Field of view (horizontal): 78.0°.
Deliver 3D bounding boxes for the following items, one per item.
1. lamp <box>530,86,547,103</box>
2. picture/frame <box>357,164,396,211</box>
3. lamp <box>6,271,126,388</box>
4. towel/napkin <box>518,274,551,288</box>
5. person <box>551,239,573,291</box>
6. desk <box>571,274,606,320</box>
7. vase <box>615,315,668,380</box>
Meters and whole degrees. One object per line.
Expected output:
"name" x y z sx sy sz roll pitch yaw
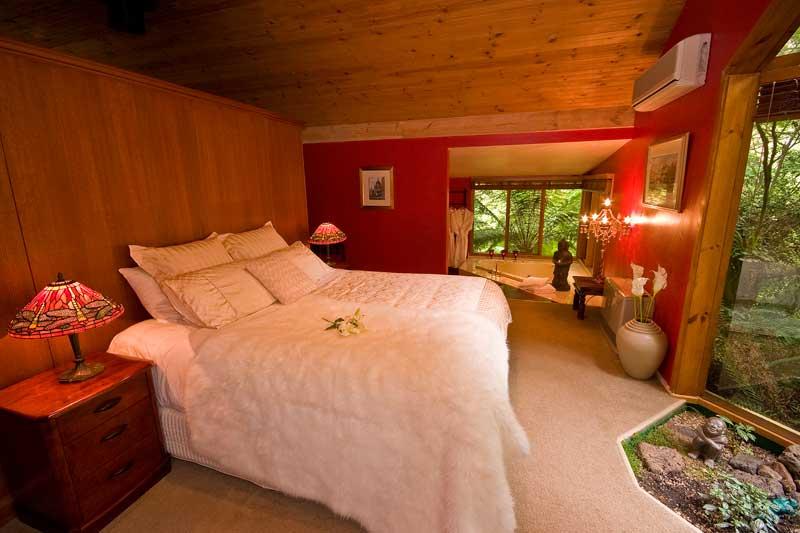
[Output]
"lamp" 1.544 -1.915 5.531 0.168 0.120 0.233 3 12 15
"picture/frame" -0.310 -1.081 6.598 0.618 0.661 0.049 2 13 16
"lamp" -2.434 0.462 3.631 0.703 0.792 0.313 -7 16 -28
"towel/napkin" 1.907 0.235 7.168 0.263 0.082 0.276 -6 8 41
"person" 2.289 -0.038 7.029 0.255 0.715 0.496 4 14 18
"desk" 2.193 0.370 5.997 0.480 0.439 0.469 1 8 3
"vase" 2.128 0.775 4.812 0.532 0.611 0.518 1 1 -6
